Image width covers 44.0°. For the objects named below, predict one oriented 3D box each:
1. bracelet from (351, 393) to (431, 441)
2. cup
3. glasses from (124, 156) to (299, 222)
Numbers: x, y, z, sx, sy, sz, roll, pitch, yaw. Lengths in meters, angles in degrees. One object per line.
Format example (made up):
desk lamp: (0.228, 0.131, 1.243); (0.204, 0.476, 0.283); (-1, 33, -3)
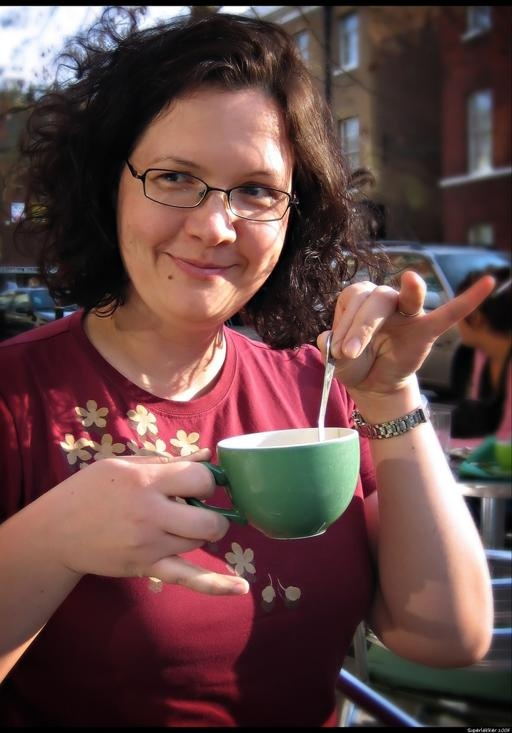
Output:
bracelet: (0.276, 0.114, 1.275); (0.106, 0.032, 0.110); (-16, 4, 20)
cup: (0.038, 0.164, 0.904); (0.252, 0.112, 0.159); (-7, -7, 25)
glasses: (-0.083, -0.329, 1.179); (0.297, 0.142, 0.116); (-8, 8, -7)
